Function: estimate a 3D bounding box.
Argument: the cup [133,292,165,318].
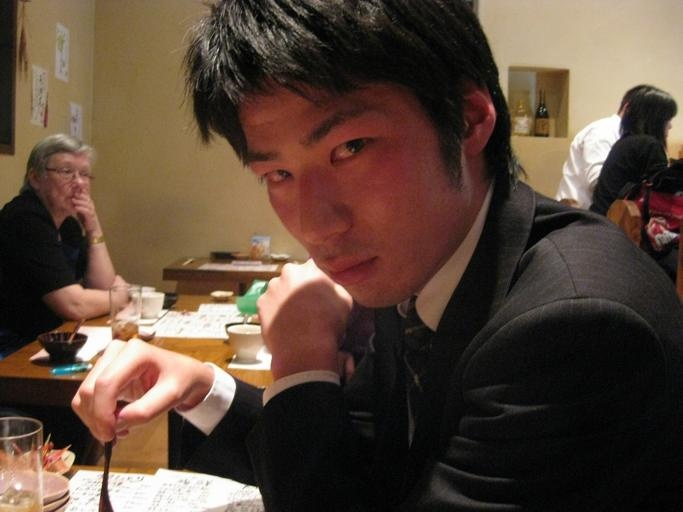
[{"bbox_3d":[-0.848,0.190,2.390,0.125,0.104,0.104,-9,12,-41],"label":"cup"}]

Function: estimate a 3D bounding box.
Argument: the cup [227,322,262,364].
[{"bbox_3d":[-0.322,0.286,1.924,0.154,0.143,0.174,0,3,0],"label":"cup"}]

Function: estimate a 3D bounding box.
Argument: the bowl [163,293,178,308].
[{"bbox_3d":[-0.812,0.210,2.595,0.057,0.045,0.062,0,-2,0],"label":"bowl"}]

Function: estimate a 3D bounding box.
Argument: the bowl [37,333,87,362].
[{"bbox_3d":[-0.921,0.291,1.805,0.086,0.068,0.141,0,-7,0],"label":"bowl"}]

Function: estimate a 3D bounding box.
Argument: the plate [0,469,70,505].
[{"bbox_3d":[-0.595,0.480,1.133,0.068,0.033,0.074,5,0,-1],"label":"plate"}]
